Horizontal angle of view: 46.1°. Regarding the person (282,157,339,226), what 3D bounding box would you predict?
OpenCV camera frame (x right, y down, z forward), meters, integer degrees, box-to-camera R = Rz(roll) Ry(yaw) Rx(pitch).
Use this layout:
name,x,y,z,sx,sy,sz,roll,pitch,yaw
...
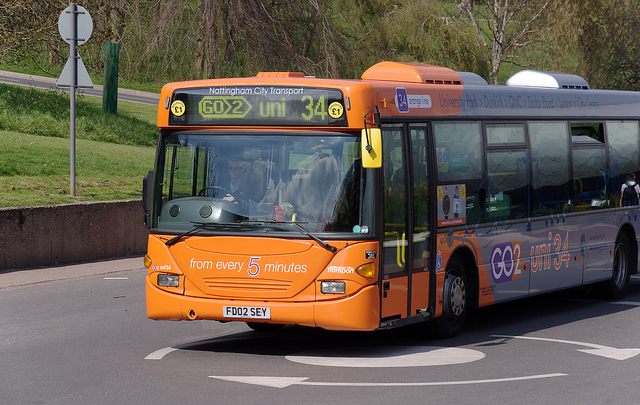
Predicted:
name,x,y,z,sx,sy,sz,roll,pitch,yaw
person,-0.124,-0.171,11.032,0.632,1.055,0.237,26,2,15

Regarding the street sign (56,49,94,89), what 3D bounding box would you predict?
name,x,y,z,sx,sy,sz,roll,pitch,yaw
street sign,-6.286,-3.437,19.295,0.838,0.992,0.684,-1,5,-21
